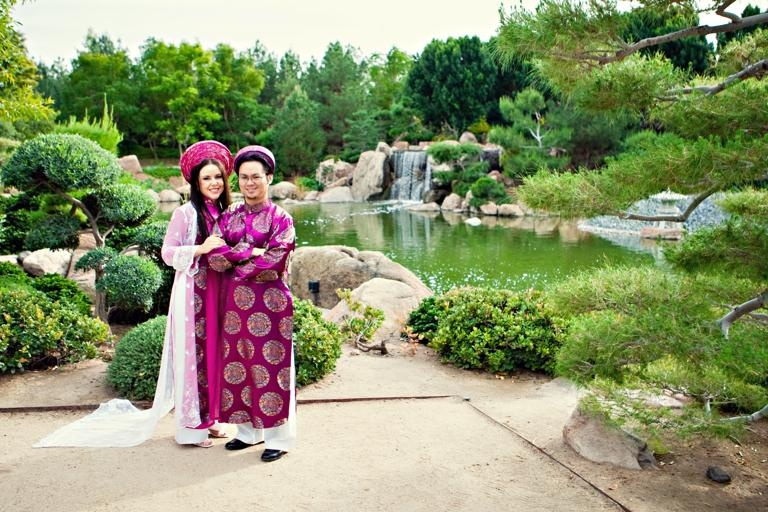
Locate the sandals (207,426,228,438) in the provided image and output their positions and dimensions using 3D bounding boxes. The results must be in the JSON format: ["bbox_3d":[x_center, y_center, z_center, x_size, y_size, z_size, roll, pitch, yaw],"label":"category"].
[{"bbox_3d":[-1.768,1.880,7.012,0.218,0.086,0.095,2,2,16],"label":"sandals"}]

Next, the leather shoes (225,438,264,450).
[{"bbox_3d":[-1.442,1.923,6.753,0.347,0.145,0.120,8,-9,-21],"label":"leather shoes"}]

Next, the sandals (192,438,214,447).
[{"bbox_3d":[-1.851,1.937,6.757,0.234,0.093,0.078,-1,6,-3],"label":"sandals"}]
